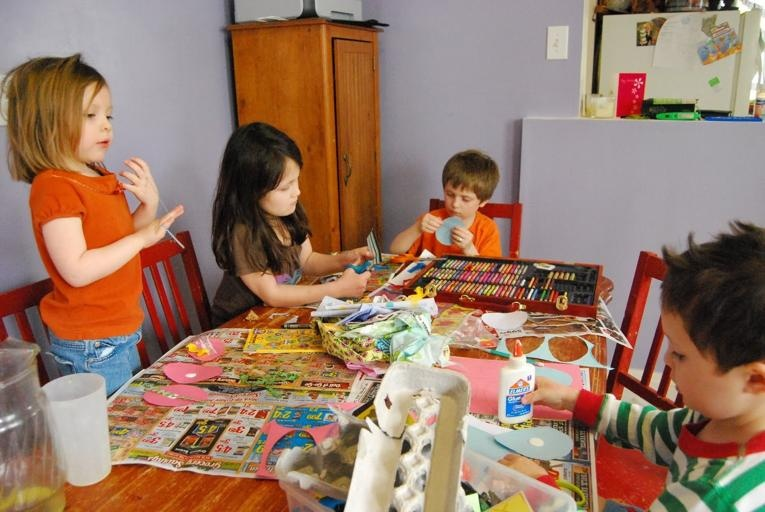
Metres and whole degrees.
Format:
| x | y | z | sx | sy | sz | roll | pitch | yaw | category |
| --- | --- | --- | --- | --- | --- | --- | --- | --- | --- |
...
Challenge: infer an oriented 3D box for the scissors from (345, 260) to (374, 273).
| x | y | z | sx | sy | sz | roll | pitch | yaw | category |
| --- | --- | --- | --- | --- | --- | --- | --- | --- | --- |
| -0.071 | 0.039 | 1.938 | 0.053 | 0.023 | 0.071 | -25 | 9 | -42 | scissors |

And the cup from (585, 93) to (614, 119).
| x | y | z | sx | sy | sz | roll | pitch | yaw | category |
| --- | --- | --- | --- | --- | --- | --- | --- | --- | --- |
| 1.207 | -0.826 | 2.798 | 0.162 | 0.113 | 0.157 | -3 | 15 | 1 | cup |

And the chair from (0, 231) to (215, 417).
| x | y | z | sx | sy | sz | roll | pitch | yaw | category |
| --- | --- | --- | --- | --- | --- | --- | --- | --- | --- |
| -0.819 | 0.188 | 1.468 | 0.174 | 0.352 | 0.447 | 9 | 35 | 23 | chair |

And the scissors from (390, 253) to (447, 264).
| x | y | z | sx | sy | sz | roll | pitch | yaw | category |
| --- | --- | --- | --- | --- | --- | --- | --- | --- | --- |
| 0.127 | 0.010 | 2.028 | 0.180 | 0.025 | 0.067 | 0 | 7 | 12 | scissors |
